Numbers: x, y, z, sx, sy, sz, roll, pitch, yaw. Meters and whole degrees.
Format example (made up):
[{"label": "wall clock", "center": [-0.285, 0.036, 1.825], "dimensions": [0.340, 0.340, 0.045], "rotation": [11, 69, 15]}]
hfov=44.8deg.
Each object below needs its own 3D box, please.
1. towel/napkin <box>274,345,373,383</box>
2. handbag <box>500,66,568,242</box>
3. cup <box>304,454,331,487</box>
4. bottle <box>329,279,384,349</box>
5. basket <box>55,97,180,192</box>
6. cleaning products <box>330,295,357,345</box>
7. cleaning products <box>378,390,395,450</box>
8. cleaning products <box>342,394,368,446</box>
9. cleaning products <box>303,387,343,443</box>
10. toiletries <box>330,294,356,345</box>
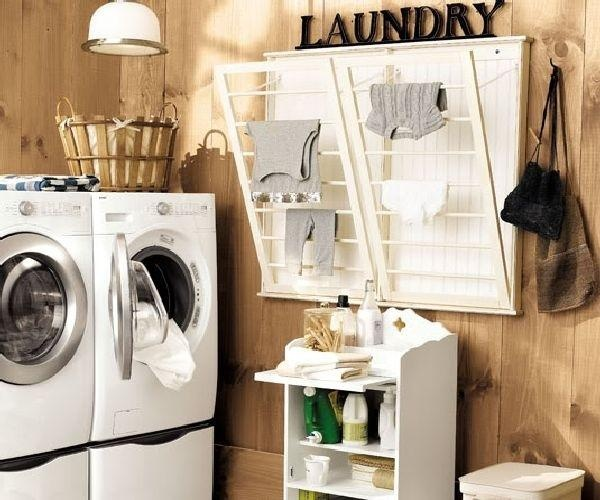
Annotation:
[{"label": "towel/napkin", "center": [0.094, 0.433, 2.773], "dimensions": [0.349, 0.110, 0.209], "rotation": [-1, 10, 18]}, {"label": "handbag", "center": [0.916, -0.381, 2.855], "dimensions": [0.235, 0.669, 0.214], "rotation": [1, 9, 23]}, {"label": "cup", "center": [0.062, 0.856, 2.830], "dimensions": [0.101, 0.091, 0.083], "rotation": [-2, -5, 40]}, {"label": "bottle", "center": [0.248, 0.277, 3.064], "dimensions": [0.217, 0.377, 0.120], "rotation": [1, 0, -3]}, {"label": "basket", "center": [-0.806, -0.427, 3.228], "dimensions": [0.414, 0.411, 0.457], "rotation": [0, -1, -22]}, {"label": "cleaning products", "center": [0.169, 0.324, 3.010], "dimensions": [0.101, 0.283, 0.100], "rotation": [7, -9, -35]}, {"label": "cleaning products", "center": [0.343, 0.672, 2.844], "dimensions": [0.075, 0.220, 0.087], "rotation": [8, -12, -16]}, {"label": "cleaning products", "center": [0.237, 0.665, 2.868], "dimensions": [0.140, 0.199, 0.084], "rotation": [-9, 10, -32]}, {"label": "cleaning products", "center": [0.097, 0.677, 2.925], "dimensions": [0.187, 0.235, 0.115], "rotation": [-1, -5, -44]}, {"label": "toiletries", "center": [0.162, 0.326, 2.995], "dimensions": [0.104, 0.282, 0.113], "rotation": [5, -14, -21]}]
